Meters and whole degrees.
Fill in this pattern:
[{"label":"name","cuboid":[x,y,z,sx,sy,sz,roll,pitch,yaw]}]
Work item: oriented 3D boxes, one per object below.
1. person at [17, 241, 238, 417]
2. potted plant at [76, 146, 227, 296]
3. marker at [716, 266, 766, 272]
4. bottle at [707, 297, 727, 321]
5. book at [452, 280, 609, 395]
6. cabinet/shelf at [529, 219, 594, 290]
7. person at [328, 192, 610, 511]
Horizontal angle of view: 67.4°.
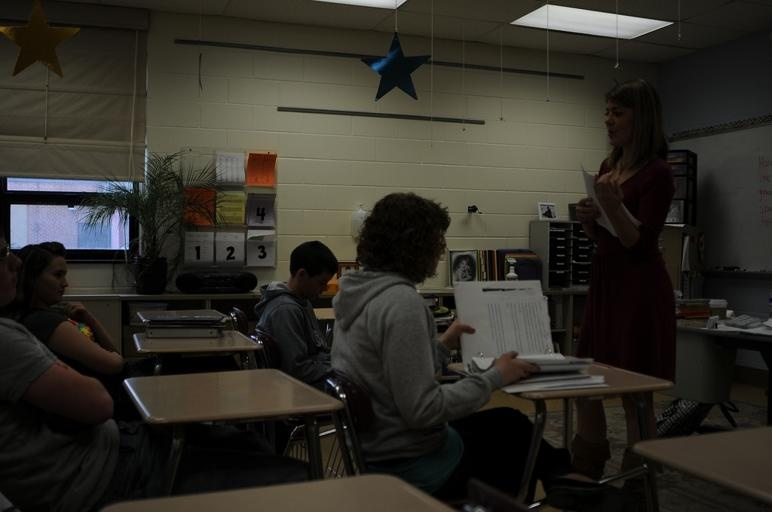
[{"label":"person","cuboid":[-1.387,0.271,3.224,1.200,1.361,0.552,-4,7,-35]},{"label":"potted plant","cuboid":[-2.099,-0.264,5.470,1.247,1.297,1.205,0,3,-13]},{"label":"marker","cuboid":[3.554,0.125,5.776,0.329,0.050,0.023,7,-1,13]},{"label":"bottle","cuboid":[2.478,0.393,4.399,0.146,0.144,0.147,-1,2,-20]},{"label":"book","cuboid":[0.555,0.273,2.238,0.471,0.343,0.432,0,3,-29]},{"label":"cabinet/shelf","cuboid":[1.842,-0.004,6.152,0.740,0.733,0.341,0,1,-34]},{"label":"person","cuboid":[0.195,0.339,2.214,0.778,1.105,0.416,1,0,-27]}]
